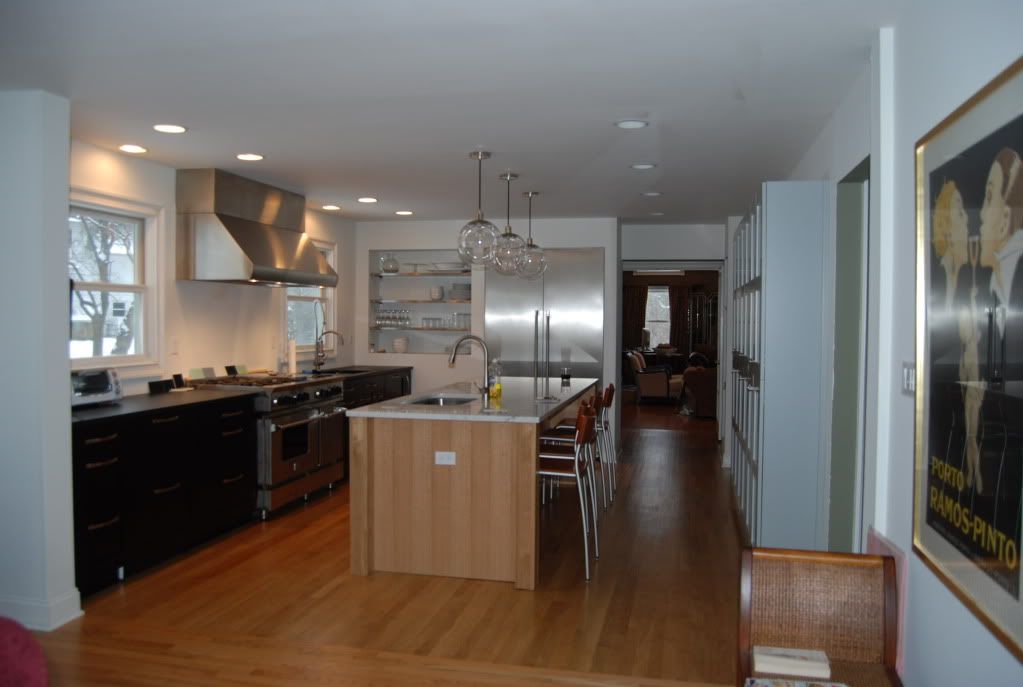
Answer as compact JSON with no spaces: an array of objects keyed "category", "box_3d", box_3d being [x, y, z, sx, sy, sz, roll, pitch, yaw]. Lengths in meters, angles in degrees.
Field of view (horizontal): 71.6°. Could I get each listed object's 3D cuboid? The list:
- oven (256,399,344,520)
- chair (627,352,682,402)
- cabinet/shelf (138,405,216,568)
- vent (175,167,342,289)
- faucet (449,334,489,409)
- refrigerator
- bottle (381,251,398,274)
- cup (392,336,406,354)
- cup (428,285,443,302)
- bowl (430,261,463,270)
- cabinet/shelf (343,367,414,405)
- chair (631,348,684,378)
[{"category":"oven","box_3d":[-2.112,1.000,6.662,0.697,1.008,1.339,0,2,13]},{"category":"chair","box_3d":[2.858,0.602,14.028,1.113,0.791,1.226,2,4,4]},{"category":"cabinet/shelf","box_3d":[-2.421,1.076,5.559,0.429,1.135,1.234,-8,-4,-40]},{"category":"vent","box_3d":[-2.330,-1.026,6.744,0.778,0.940,1.477,-1,3,18]},{"category":"faucet","box_3d":[-0.327,0.276,5.661,0.326,0.742,0.121,-1,24,-4]},{"category":"refrigerator","box_3d":[0.439,-0.375,8.186,1.584,2.346,0.891,0,0,8]},{"category":"bottle","box_3d":[-1.155,-0.767,6.719,0.171,0.193,0.171,0,-4,-3]},{"category":"cup","box_3d":[-1.402,0.016,8.876,0.155,0.199,0.267,0,2,4]},{"category":"cup","box_3d":[-0.941,-0.622,8.925,0.184,0.173,0.130,-1,6,-10]},{"category":"bowl","box_3d":[-0.812,-0.966,8.953,0.321,0.095,0.254,-1,-2,-5]},{"category":"cabinet/shelf","box_3d":[-1.493,0.450,7.921,0.175,0.407,1.516,1,6,11]},{"category":"chair","box_3d":[3.267,0.354,15.577,0.739,0.538,0.797,-1,0,22]}]
